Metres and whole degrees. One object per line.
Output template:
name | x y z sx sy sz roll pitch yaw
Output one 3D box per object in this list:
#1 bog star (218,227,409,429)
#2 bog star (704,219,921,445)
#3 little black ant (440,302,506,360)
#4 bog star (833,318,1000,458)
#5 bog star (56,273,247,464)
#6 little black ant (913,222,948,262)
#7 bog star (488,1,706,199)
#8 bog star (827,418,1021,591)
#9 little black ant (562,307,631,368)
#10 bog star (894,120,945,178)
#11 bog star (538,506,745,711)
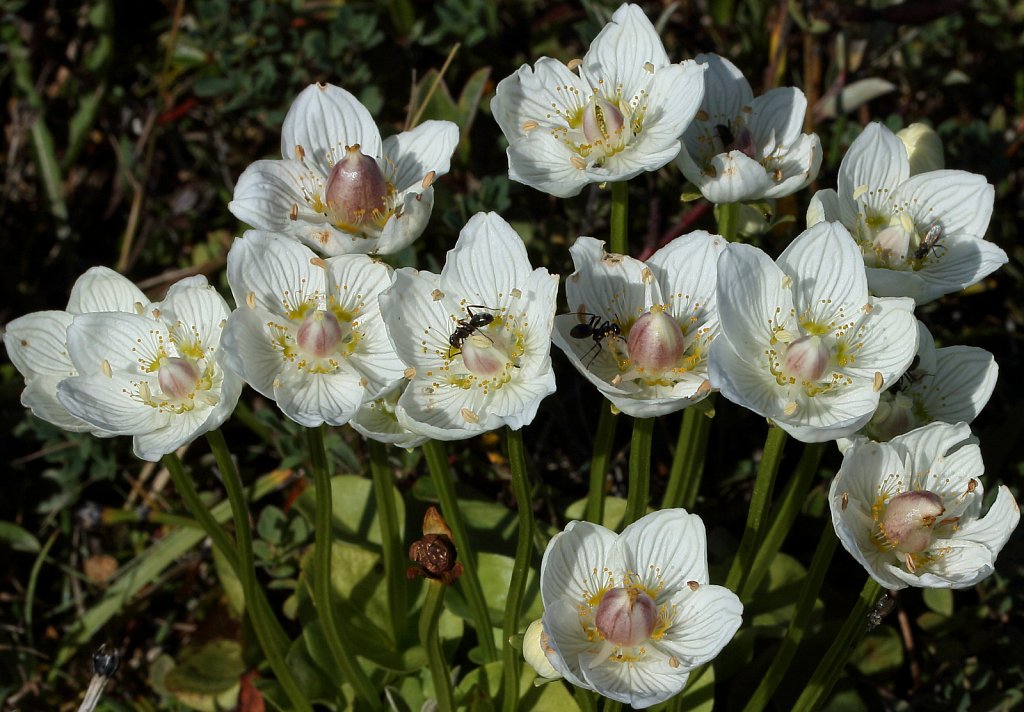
bog star | -0.635 -0.175 3.407 0.548 0.735 0.305 -9 77 20
bog star | 0.918 -0.063 3.328 0.543 0.308 0.762 11 74 -1
little black ant | -0.129 -0.094 3.230 0.046 0.117 0.165 23 103 -15
bog star | 1.359 0.238 3.373 0.390 0.225 0.549 22 78 33
bog star | -1.136 0.091 3.301 0.514 0.237 0.621 -30 70 7
little black ant | 1.393 -0.377 3.390 0.038 0.109 0.124 9 64 56
bog star | 0.275 -0.828 3.451 0.583 0.324 0.736 -3 59 22
bog star | 1.232 0.494 3.145 0.576 0.267 0.472 -11 65 -6
little black ant | 0.267 -0.078 3.228 0.168 0.074 0.105 11 64 5
bog star | 1.475 -0.740 3.666 0.205 0.219 0.075 -9 17 8
bog star | 0.375 0.764 3.095 0.583 0.209 0.555 -10 65 -5
